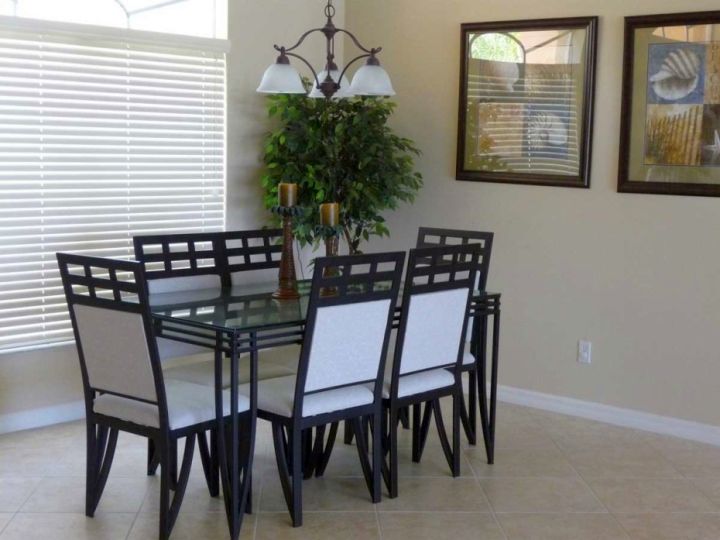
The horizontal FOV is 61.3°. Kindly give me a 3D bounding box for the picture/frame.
[{"bbox_3d":[1.567,-1.102,3.966,1.217,0.871,0.032,3,4,34],"label":"picture/frame"}]
